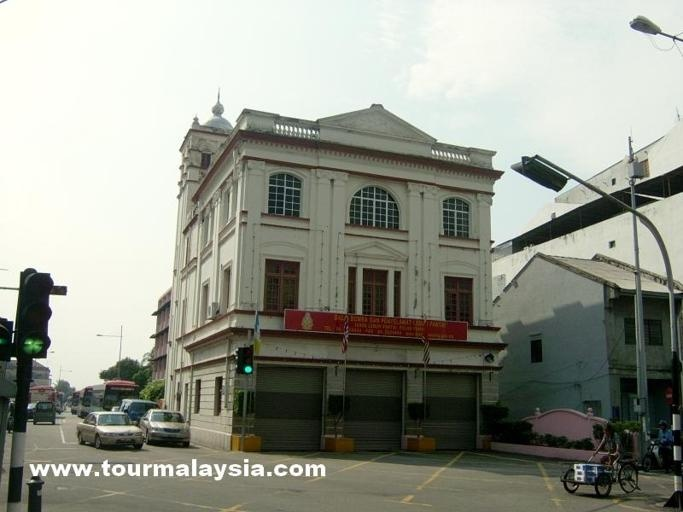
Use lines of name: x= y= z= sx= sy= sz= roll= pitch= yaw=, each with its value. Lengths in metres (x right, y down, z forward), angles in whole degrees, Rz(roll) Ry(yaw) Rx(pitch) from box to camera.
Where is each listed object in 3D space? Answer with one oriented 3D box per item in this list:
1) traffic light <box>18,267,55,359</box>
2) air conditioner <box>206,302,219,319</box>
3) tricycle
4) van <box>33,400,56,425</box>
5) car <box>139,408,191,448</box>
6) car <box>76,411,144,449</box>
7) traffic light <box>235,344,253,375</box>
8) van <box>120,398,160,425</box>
traffic light: x=-6.675 y=1.304 z=15.448 sx=0.714 sy=1.808 sz=0.486 roll=8 pitch=-19 yaw=-23
air conditioner: x=-6.842 y=2.933 z=38.413 sx=0.344 sy=0.949 sz=0.919 roll=10 pitch=-20 yaw=-30
tricycle: x=8.689 y=7.252 z=23.734 sx=2.442 sy=1.213 sz=1.510 roll=4 pitch=-11 yaw=-30
van: x=-25.028 y=13.232 z=59.854 sx=1.706 sy=1.961 sz=1.733 roll=7 pitch=-19 yaw=-22
car: x=-8.919 y=8.598 z=35.710 sx=2.362 sy=1.928 sz=2.127 roll=4 pitch=-9 yaw=-29
car: x=-11.197 y=8.320 z=34.207 sx=2.121 sy=1.426 sz=4.829 roll=7 pitch=-11 yaw=-35
traffic light: x=-3.844 y=4.147 z=28.308 sx=0.600 sy=1.135 sz=0.753 roll=0 pitch=-17 yaw=2
van: x=-12.223 y=9.555 z=43.220 sx=2.206 sy=1.649 sz=3.373 roll=10 pitch=-25 yaw=-26
